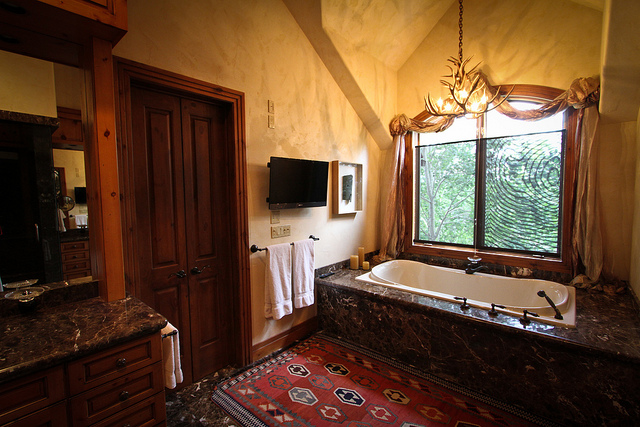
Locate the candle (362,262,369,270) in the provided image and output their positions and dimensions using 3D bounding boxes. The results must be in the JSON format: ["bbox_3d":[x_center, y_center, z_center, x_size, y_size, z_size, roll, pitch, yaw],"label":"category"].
[{"bbox_3d":[0.551,0.632,4.882,0.074,0.078,0.072,-1,-2,-19],"label":"candle"}]

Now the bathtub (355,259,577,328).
[{"bbox_3d":[1.551,0.832,4.319,2.020,0.361,0.862,2,8,33],"label":"bathtub"}]

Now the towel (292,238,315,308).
[{"bbox_3d":[-0.165,0.644,4.404,0.132,0.705,0.347,3,8,37],"label":"towel"}]

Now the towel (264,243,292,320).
[{"bbox_3d":[-0.420,0.689,4.195,0.345,0.728,0.136,-9,10,-44],"label":"towel"}]
